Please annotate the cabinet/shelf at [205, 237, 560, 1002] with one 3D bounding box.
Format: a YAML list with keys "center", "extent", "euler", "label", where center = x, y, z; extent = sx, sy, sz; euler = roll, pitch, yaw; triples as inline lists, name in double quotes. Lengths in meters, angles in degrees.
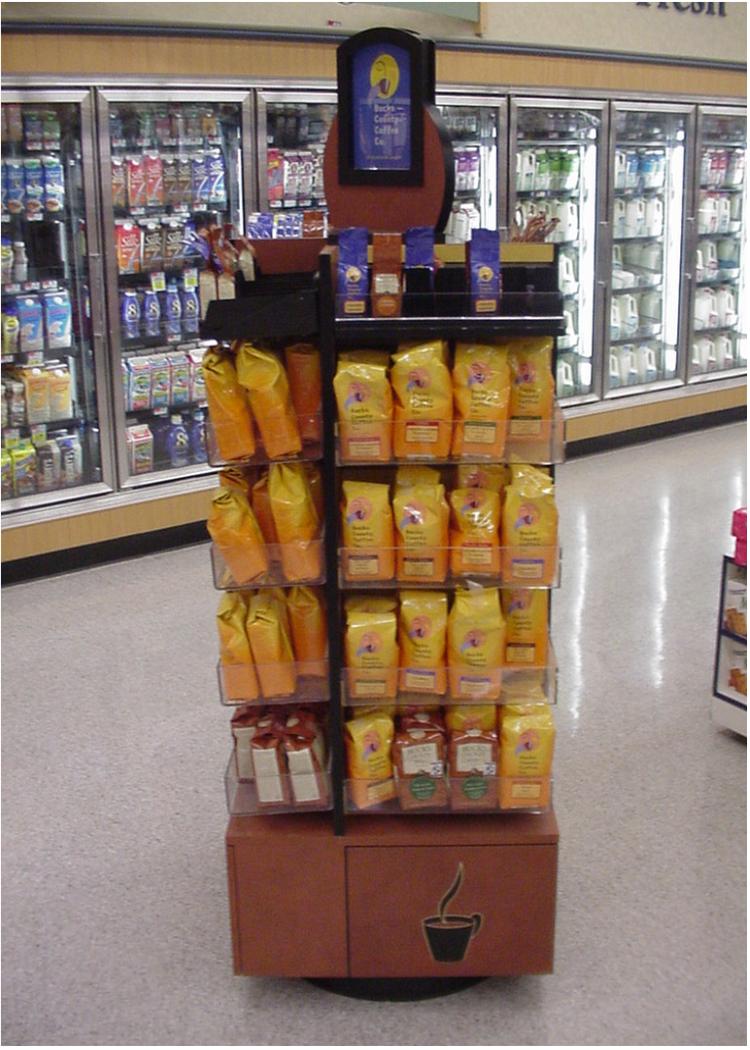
- center: [0.042, 0.241, 1.918]
  extent: [0.794, 1.693, 0.325]
  euler: [-1, 13, 1]
  label: "cabinet/shelf"
